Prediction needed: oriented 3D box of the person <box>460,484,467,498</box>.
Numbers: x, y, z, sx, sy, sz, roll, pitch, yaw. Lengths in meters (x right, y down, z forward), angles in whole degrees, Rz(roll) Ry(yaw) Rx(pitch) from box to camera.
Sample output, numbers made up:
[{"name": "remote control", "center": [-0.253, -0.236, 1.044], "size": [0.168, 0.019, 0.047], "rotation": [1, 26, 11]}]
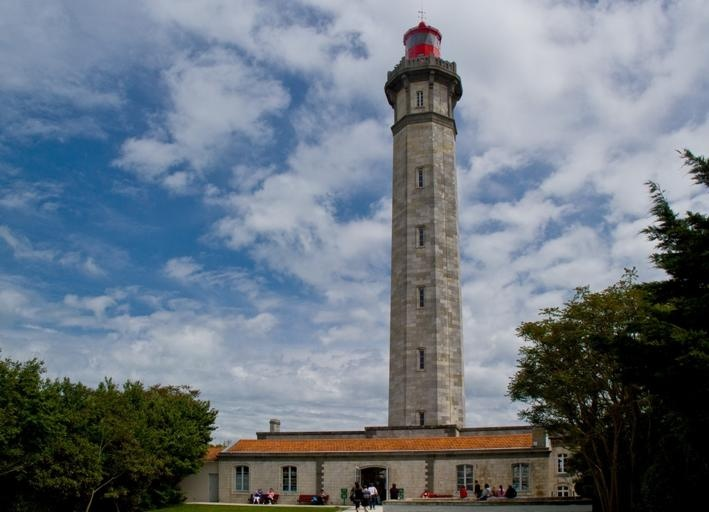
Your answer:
[{"name": "person", "center": [7.620, 16.561, 57.322], "size": [0.577, 0.864, 1.036], "rotation": [-3, -23, 7]}]

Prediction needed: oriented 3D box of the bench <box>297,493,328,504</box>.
[{"name": "bench", "center": [-3.072, 17.925, 59.855], "size": [2.082, 0.650, 0.694], "rotation": [1, -15, 6]}]

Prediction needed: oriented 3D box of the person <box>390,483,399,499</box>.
[{"name": "person", "center": [2.849, 16.855, 58.404], "size": [0.554, 1.087, 0.704], "rotation": [-6, -24, 15]}]

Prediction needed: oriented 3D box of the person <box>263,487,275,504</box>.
[{"name": "person", "center": [-6.221, 17.873, 60.668], "size": [0.967, 1.140, 0.772], "rotation": [0, -23, 1]}]
